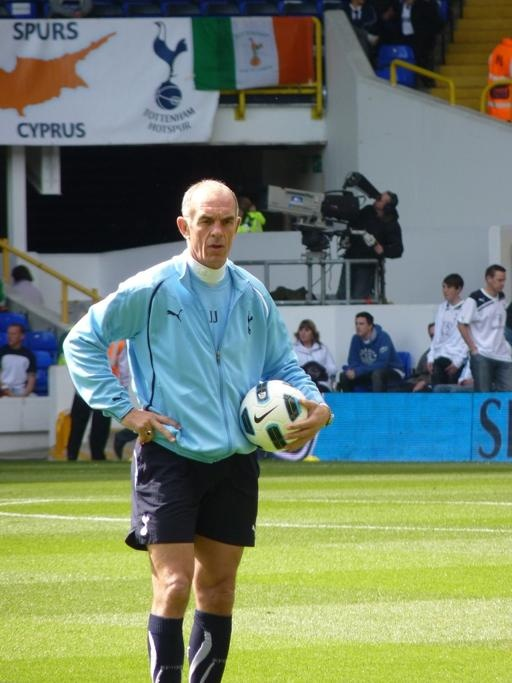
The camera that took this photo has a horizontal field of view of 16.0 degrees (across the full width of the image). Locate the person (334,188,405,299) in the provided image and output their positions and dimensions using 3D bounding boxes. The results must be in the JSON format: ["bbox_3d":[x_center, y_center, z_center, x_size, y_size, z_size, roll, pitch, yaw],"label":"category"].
[{"bbox_3d":[1.371,-1.082,20.973,0.557,1.379,0.533,-8,16,-26],"label":"person"}]

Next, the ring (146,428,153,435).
[{"bbox_3d":[-0.701,0.595,11.915,0.030,0.031,0.032,1,-8,0],"label":"ring"}]

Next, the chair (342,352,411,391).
[{"bbox_3d":[1.300,0.356,20.003,0.816,0.380,0.284,-1,11,-3],"label":"chair"}]

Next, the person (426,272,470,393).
[{"bbox_3d":[2.094,-0.061,19.897,0.369,1.267,0.385,6,13,7],"label":"person"}]

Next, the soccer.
[{"bbox_3d":[0.090,0.490,12.251,0.419,0.446,0.507,-5,32,-8],"label":"soccer"}]
